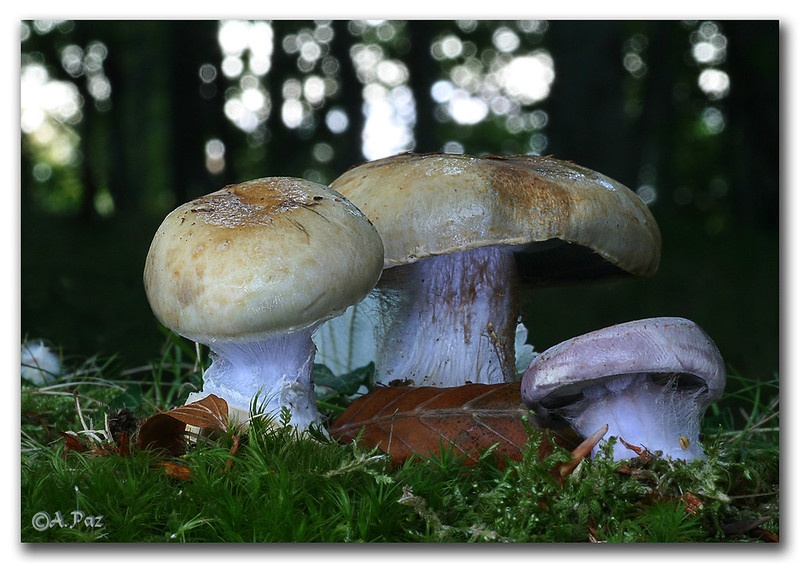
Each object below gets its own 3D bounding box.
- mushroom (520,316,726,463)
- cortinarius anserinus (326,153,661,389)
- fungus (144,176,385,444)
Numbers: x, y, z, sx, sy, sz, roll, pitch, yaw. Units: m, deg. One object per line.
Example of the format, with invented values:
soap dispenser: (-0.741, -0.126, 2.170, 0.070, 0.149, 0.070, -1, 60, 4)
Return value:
mushroom: (1.027, 0.429, 4.522, 0.754, 0.712, 0.868, 6, 6, 19)
cortinarius anserinus: (0.349, 0.042, 5.360, 1.942, 1.134, 2.062, -4, -13, 24)
fungus: (-0.663, 0.015, 4.535, 0.838, 1.290, 1.058, -5, -1, -30)
